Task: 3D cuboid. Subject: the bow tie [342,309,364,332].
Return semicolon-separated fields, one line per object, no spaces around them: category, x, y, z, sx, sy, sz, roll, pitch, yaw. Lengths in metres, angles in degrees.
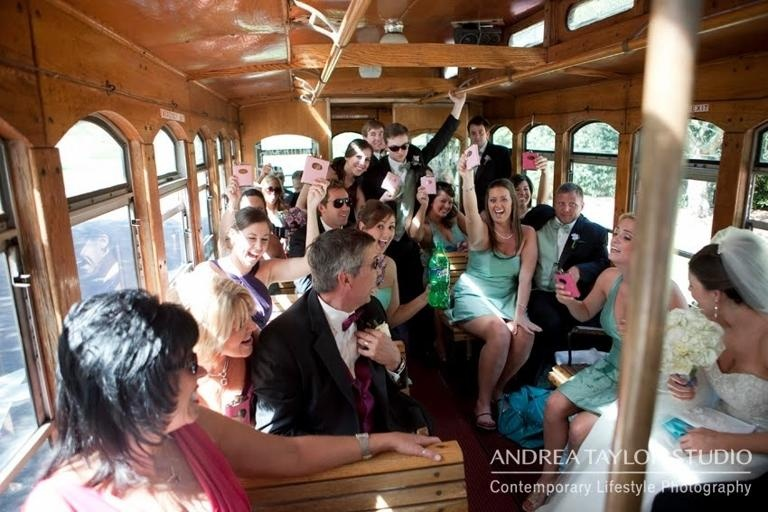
bow tie;-0.208;0.409;3.080;0.057;0.068;0.188;-6;10;34

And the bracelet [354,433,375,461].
bracelet;-0.102;0.979;2.469;0.080;0.120;0.118;-6;21;-7

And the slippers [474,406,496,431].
slippers;0.965;1.578;4.623;0.168;0.110;0.431;-1;-9;0
